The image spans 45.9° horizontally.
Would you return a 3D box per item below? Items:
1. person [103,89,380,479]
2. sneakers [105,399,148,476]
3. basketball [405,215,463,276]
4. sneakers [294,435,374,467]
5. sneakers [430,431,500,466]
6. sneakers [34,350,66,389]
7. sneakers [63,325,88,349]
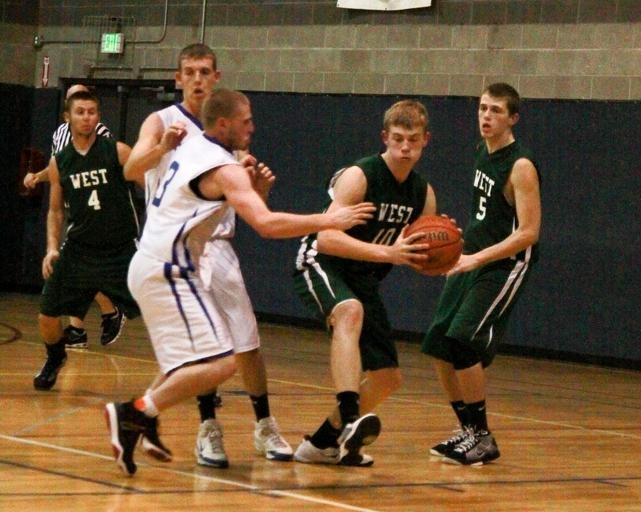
[{"bbox_3d":[-0.446,0.109,3.223,0.852,1.412,0.297,3,1,9],"label":"person"},{"bbox_3d":[-0.819,0.730,3.238,0.149,0.379,0.119,-12,9,-8],"label":"sneakers"},{"bbox_3d":[0.503,-0.061,3.611,0.246,0.340,0.268,-2,-23,-1],"label":"basketball"},{"bbox_3d":[0.070,0.942,3.613,0.401,0.176,0.147,2,-8,-2],"label":"sneakers"},{"bbox_3d":[0.694,0.974,3.855,0.384,0.214,0.148,1,-9,-6],"label":"sneakers"},{"bbox_3d":[-1.781,0.761,5.036,0.109,0.127,0.319,21,41,1],"label":"sneakers"},{"bbox_3d":[-2.150,0.716,6.620,0.277,0.145,0.114,5,-1,1],"label":"sneakers"}]
